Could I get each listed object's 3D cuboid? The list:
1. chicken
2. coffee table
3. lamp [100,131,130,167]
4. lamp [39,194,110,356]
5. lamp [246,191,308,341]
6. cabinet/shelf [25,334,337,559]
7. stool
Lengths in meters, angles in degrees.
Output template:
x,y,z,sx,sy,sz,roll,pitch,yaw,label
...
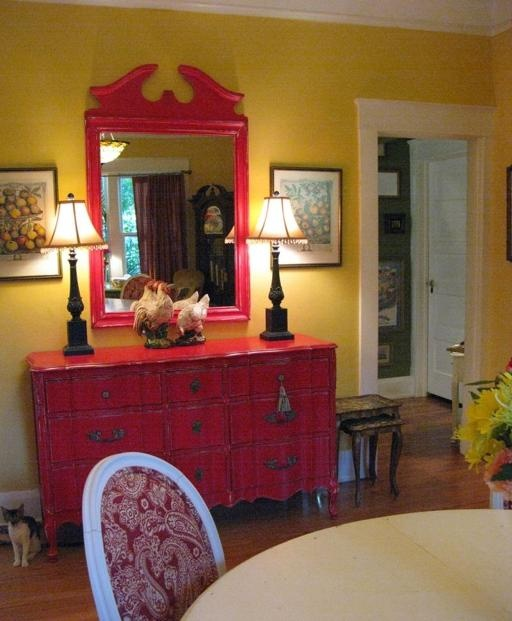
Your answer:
x,y,z,sx,sy,sz,roll,pitch,yaw,label
-0.457,0.027,3.039,0.417,0.349,0.327,4,5,-12,chicken
0.681,0.845,3.427,0.450,0.487,0.449,0,-1,-30,coffee table
-0.770,-0.883,3.064,0.170,0.142,0.157,-2,3,-14,lamp
-0.942,-0.182,2.868,0.295,0.806,0.298,4,6,-20,lamp
0.112,-0.252,3.229,0.425,0.835,0.383,0,3,2,lamp
-0.338,0.691,2.945,1.536,0.785,0.489,-2,-7,-13,cabinet/shelf
0.702,0.872,3.455,0.394,0.495,0.593,7,5,12,stool
